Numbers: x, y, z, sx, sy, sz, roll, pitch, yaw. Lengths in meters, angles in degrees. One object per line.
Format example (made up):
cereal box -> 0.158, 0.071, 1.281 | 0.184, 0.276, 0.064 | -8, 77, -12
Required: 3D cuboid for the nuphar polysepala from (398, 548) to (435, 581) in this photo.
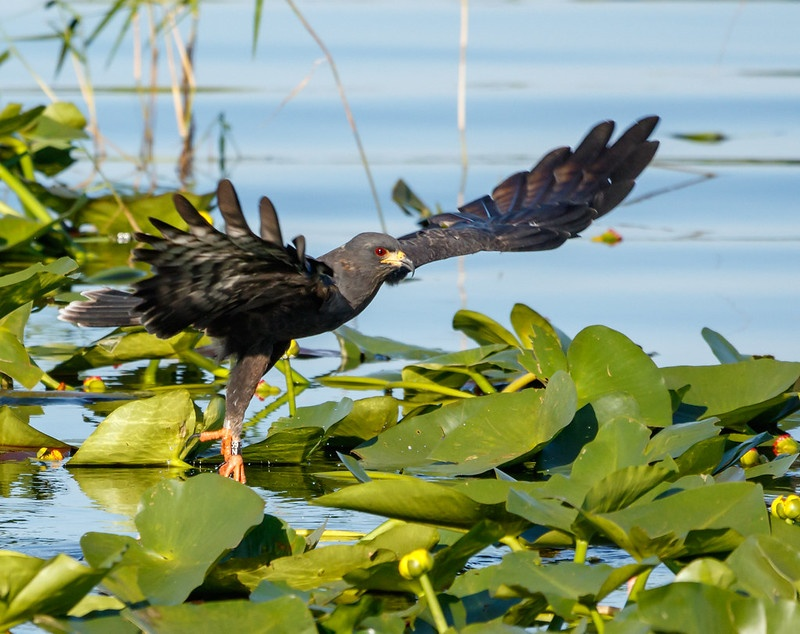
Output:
nuphar polysepala -> 0.028, 0.588, 2.798 | 0.098, 0.074, 0.044 | 1, 52, -45
